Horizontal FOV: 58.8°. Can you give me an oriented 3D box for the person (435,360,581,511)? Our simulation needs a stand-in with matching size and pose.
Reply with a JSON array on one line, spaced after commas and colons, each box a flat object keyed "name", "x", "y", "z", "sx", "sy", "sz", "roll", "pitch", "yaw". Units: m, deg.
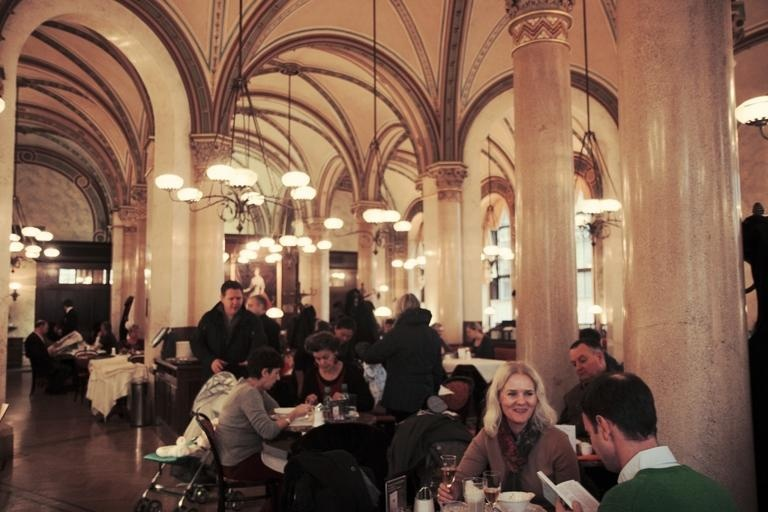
[{"name": "person", "x": 1.174, "y": 1.577, "z": 6.073, "sx": 1.235, "sy": 1.752, "sz": 1.063, "roll": -5, "pitch": -21, "yaw": 17}]

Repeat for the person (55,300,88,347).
[{"name": "person", "x": -7.959, "y": 1.851, "z": 17.297, "sx": 0.508, "sy": 1.533, "sz": 0.572, "roll": 4, "pitch": 11, "yaw": 7}]

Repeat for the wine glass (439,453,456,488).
[{"name": "wine glass", "x": 0.519, "y": 1.708, "z": 5.480, "sx": 0.105, "sy": 0.229, "sz": 0.191, "roll": -2, "pitch": -7, "yaw": 8}]

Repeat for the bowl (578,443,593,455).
[{"name": "bowl", "x": 1.897, "y": 1.795, "z": 6.454, "sx": 0.127, "sy": 0.103, "sz": 0.126, "roll": 0, "pitch": 0, "yaw": 0}]

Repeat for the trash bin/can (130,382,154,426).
[{"name": "trash bin/can", "x": -4.111, "y": 2.448, "z": 11.338, "sx": 0.444, "sy": 0.713, "sz": 0.510, "roll": -4, "pitch": -7, "yaw": 22}]

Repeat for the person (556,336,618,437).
[{"name": "person", "x": 1.853, "y": 1.221, "z": 6.360, "sx": 0.375, "sy": 1.076, "sz": 0.471, "roll": 8, "pitch": -30, "yaw": 3}]

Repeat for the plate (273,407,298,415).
[{"name": "plate", "x": -1.125, "y": 1.725, "z": 7.630, "sx": 0.176, "sy": 0.040, "sz": 0.159, "roll": 1, "pitch": -3, "yaw": -8}]
